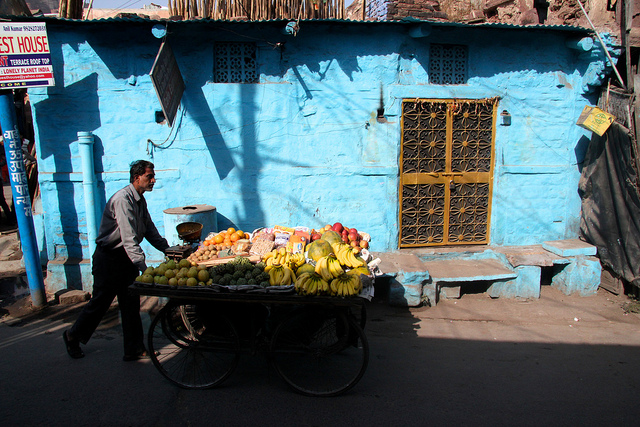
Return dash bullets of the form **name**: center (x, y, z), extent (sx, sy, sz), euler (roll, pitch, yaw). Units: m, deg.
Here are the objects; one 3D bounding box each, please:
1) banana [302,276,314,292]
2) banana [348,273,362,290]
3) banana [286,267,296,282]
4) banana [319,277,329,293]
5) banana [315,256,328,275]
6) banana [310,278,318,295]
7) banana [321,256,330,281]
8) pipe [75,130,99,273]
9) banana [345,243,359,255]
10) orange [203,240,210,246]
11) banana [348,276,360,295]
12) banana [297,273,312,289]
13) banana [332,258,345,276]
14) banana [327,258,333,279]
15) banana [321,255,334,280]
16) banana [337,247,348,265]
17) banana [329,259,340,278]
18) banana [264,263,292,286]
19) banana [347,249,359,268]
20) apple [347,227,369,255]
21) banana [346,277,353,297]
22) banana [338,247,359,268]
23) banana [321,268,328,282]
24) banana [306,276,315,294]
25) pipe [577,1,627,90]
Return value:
- **banana**: center (-0.165, 0.958, 6.484), extent (0.061, 0.216, 0.075), euler (31, -16, -7)
- **banana**: center (0.483, 0.936, 6.541), extent (0.155, 0.072, 0.261), euler (-16, 48, 9)
- **banana**: center (-0.381, 0.869, 6.741), extent (0.066, 0.236, 0.081), euler (-31, -2, 44)
- **banana**: center (0.063, 0.979, 6.522), extent (0.054, 0.195, 0.071), euler (-4, -34, -51)
- **banana**: center (0.001, 0.742, 6.733), extent (0.114, 0.297, 0.072), euler (27, -9, -10)
- **banana**: center (-0.089, 1.018, 6.485), extent (0.051, 0.178, 0.065), euler (16, -12, -11)
- **banana**: center (0.081, 0.768, 6.628), extent (0.117, 0.302, 0.075), euler (7, -30, -16)
- **pipe**: center (-4.345, -0.268, 9.048), extent (0.333, 2.488, 0.619), euler (-6, 16, -17)
- **banana**: center (0.484, 0.562, 7.330), extent (0.098, 0.231, 0.098), euler (-46, 10, -5)
- **orange**: center (-1.832, 0.468, 7.719), extent (0.104, 0.055, 0.100), euler (4, 11, 5)
- **banana**: center (0.453, 0.974, 6.510), extent (0.189, 0.164, 0.049), euler (34, 15, 19)
- **banana**: center (-0.233, 0.916, 6.554), extent (0.306, 0.104, 0.065), euler (-49, -7, -32)
- **banana**: center (0.254, 0.760, 6.669), extent (0.082, 0.293, 0.104), euler (-32, -23, -5)
- **banana**: center (0.140, 0.788, 6.623), extent (0.085, 0.232, 0.043), euler (11, -23, -34)
- **banana**: center (0.084, 0.756, 6.647), extent (0.135, 0.360, 0.089), euler (8, -37, -32)
- **banana**: center (0.324, 0.626, 6.955), extent (0.133, 0.054, 0.246), euler (-29, 35, 9)
- **banana**: center (0.179, 0.765, 6.613), extent (0.073, 0.269, 0.099), euler (-32, -24, 11)
- **banana**: center (-0.581, 0.852, 6.673), extent (0.317, 0.115, 0.238), euler (36, 61, 25)
- **banana**: center (0.437, 0.682, 6.966), extent (0.131, 0.068, 0.332), euler (-3, 49, -32)
- **apple**: center (0.688, 0.480, 8.402), extent (0.267, 0.148, 0.430), euler (30, 21, -35)
- **banana**: center (0.392, 1.018, 6.484), extent (0.043, 0.215, 0.057), euler (-22, -15, -8)
- **banana**: center (0.376, 0.641, 6.895), extent (0.159, 0.102, 0.297), euler (-34, 55, -6)
- **banana**: center (0.039, 0.853, 6.611), extent (0.032, 0.179, 0.065), euler (-40, -16, 30)
- **banana**: center (-0.139, 0.981, 6.535), extent (0.046, 0.069, 0.265), euler (-2, 50, 53)
- **pipe**: center (5.439, -3.236, 9.214), extent (0.980, 1.663, 0.659), euler (7, 17, 28)
